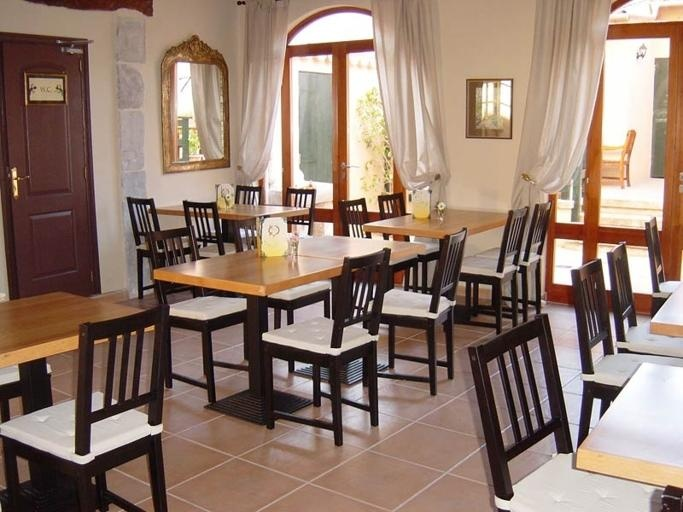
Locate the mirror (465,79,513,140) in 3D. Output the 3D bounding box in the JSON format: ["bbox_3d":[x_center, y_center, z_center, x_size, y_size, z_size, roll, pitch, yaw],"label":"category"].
[{"bbox_3d":[1.607,-1.613,5.887,0.509,0.666,0.016,9,35,28],"label":"mirror"}]

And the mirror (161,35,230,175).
[{"bbox_3d":[-1.822,-1.885,6.700,0.114,1.629,1.070,7,14,31],"label":"mirror"}]
